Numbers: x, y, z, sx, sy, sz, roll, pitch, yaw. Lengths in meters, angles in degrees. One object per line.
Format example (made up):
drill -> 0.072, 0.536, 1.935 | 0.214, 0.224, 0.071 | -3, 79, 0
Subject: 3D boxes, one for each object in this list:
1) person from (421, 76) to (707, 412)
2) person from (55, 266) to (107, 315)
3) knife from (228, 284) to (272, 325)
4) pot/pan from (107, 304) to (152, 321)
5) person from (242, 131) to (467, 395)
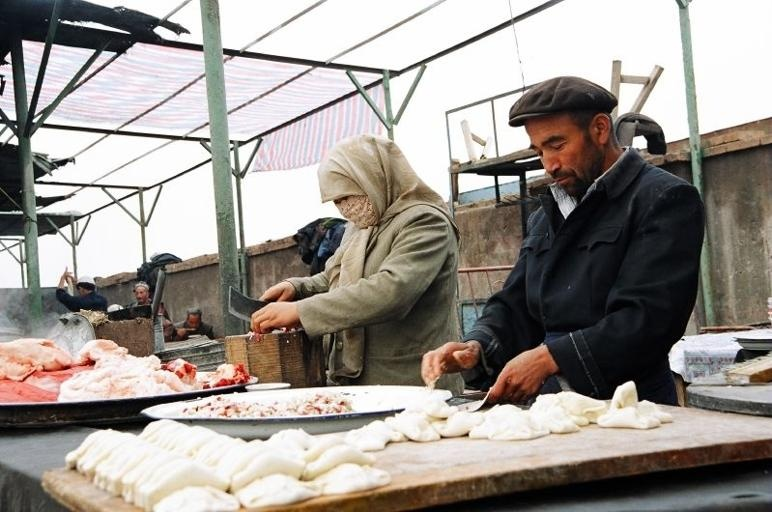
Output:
person -> 0.771, 0.031, 3.218 | 0.893, 1.960, 0.760 | 1, -5, -29
person -> -5.572, 0.709, 13.203 | 1.071, 1.219, 0.632 | -1, -3, 45
knife -> -0.800, 0.257, 3.848 | 0.383, 0.116, 0.103 | 19, 21, 19
pot/pan -> -2.800, 0.622, 7.943 | 0.433, 0.190, 1.347 | -4, -5, -22
person -> 0.027, 0.094, 4.005 | 0.947, 1.512, 1.607 | 0, -2, 14
